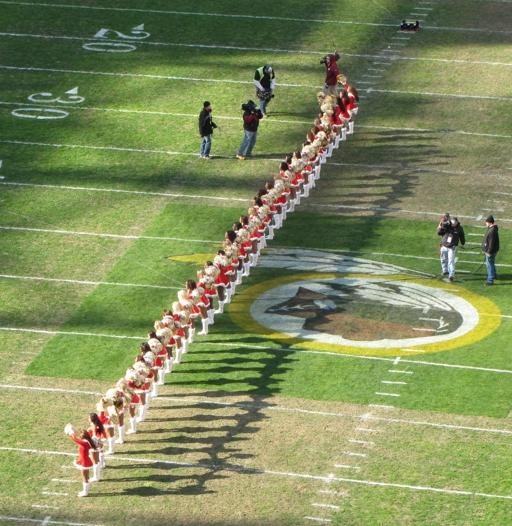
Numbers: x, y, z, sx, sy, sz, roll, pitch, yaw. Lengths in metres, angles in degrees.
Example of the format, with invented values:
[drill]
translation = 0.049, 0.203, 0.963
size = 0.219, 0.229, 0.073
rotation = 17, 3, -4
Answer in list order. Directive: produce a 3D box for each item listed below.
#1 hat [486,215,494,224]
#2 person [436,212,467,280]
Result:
[hat]
translation = 4.586, -0.844, 27.101
size = 0.192, 0.115, 0.198
rotation = 3, 19, 2
[person]
translation = 3.942, -0.397, 27.888
size = 0.515, 1.344, 1.210
rotation = 0, 15, 8
